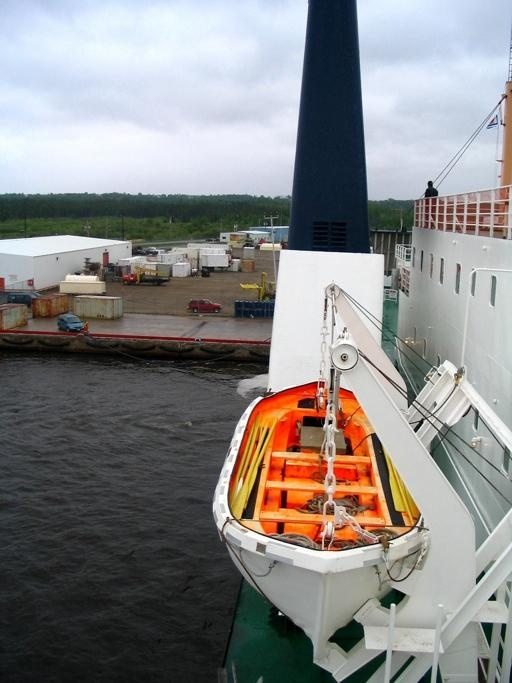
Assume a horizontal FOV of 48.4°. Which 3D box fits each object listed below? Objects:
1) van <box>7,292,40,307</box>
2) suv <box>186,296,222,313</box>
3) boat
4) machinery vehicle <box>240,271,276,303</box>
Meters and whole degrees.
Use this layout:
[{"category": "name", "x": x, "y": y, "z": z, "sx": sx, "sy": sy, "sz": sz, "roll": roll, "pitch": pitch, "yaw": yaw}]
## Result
[{"category": "van", "x": -16.036, "y": -3.157, "z": 38.903, "sx": 2.133, "sy": 1.201, "sz": 1.451, "roll": 2, "pitch": -3, "yaw": -10}, {"category": "suv", "x": -3.710, "y": -2.608, "z": 40.302, "sx": 2.117, "sy": 0.951, "sz": 1.026, "roll": -3, "pitch": 27, "yaw": 2}, {"category": "boat", "x": 0.992, "y": 2.458, "z": 9.408, "sx": 2.706, "sy": 1.760, "sz": 7.467, "roll": 3, "pitch": 8, "yaw": 5}, {"category": "machinery vehicle", "x": 0.362, "y": -4.199, "z": 47.028, "sx": 2.511, "sy": 2.245, "sz": 4.301, "roll": 1, "pitch": 23, "yaw": -1}]
